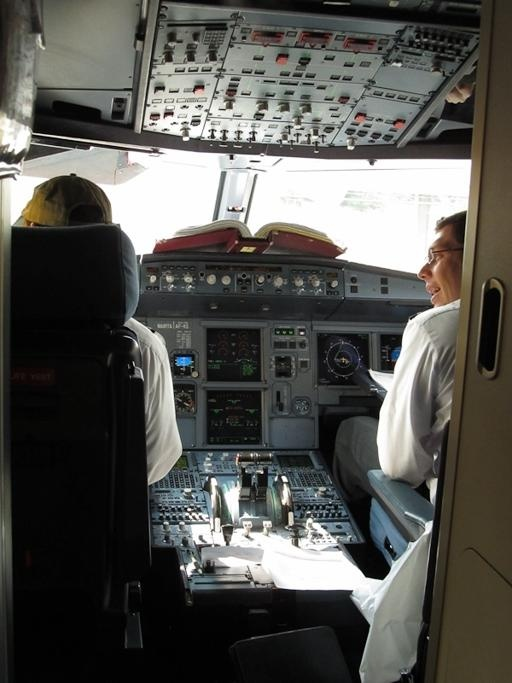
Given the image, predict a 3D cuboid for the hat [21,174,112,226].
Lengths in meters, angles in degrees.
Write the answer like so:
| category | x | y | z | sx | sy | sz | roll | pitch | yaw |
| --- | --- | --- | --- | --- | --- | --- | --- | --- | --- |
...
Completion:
| category | x | y | z | sx | sy | sz | roll | pitch | yaw |
| --- | --- | --- | --- | --- | --- | --- | --- | --- | --- |
| hat | -0.616 | -0.449 | 1.693 | 0.260 | 0.156 | 0.367 | -2 | 9 | -28 |
